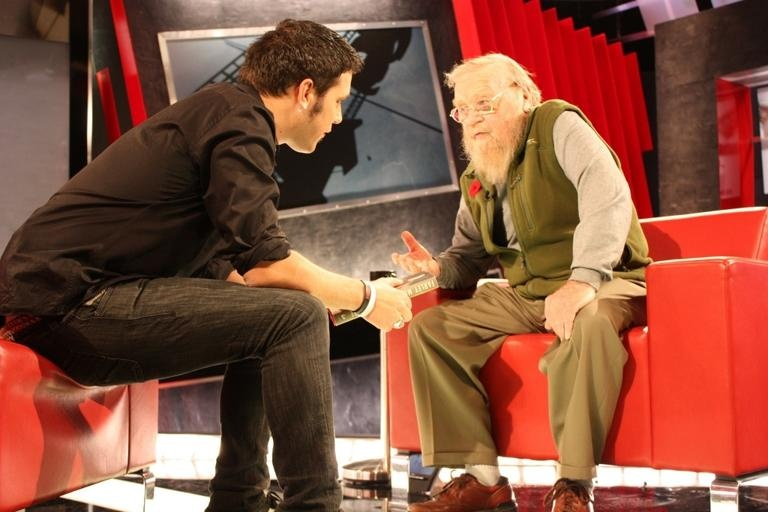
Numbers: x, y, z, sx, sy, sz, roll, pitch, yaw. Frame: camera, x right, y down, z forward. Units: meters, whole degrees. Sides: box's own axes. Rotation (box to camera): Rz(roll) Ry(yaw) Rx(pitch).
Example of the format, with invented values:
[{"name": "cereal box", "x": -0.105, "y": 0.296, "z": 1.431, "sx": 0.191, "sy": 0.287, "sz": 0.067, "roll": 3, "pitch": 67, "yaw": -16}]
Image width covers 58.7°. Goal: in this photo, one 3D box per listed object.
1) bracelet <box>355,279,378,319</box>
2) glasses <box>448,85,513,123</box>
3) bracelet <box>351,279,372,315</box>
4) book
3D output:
[{"name": "bracelet", "x": -0.054, "y": 0.134, "z": 2.176, "sx": 0.039, "sy": 0.103, "sz": 0.093, "roll": 8, "pitch": -12, "yaw": -32}, {"name": "glasses", "x": 0.377, "y": -0.635, "z": 2.806, "sx": 0.154, "sy": 0.046, "sz": 0.158, "roll": -15, "pitch": 6, "yaw": 43}, {"name": "bracelet", "x": -0.085, "y": 0.131, "z": 2.180, "sx": 0.036, "sy": 0.094, "sz": 0.084, "roll": 6, "pitch": -29, "yaw": -15}, {"name": "book", "x": 0.055, "y": 0.128, "z": 2.660, "sx": 0.261, "sy": 0.070, "sz": 0.277, "roll": -12, "pitch": 3, "yaw": 36}]
